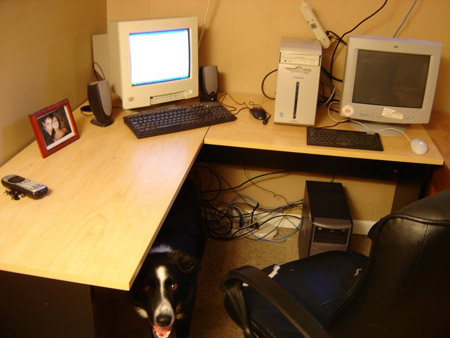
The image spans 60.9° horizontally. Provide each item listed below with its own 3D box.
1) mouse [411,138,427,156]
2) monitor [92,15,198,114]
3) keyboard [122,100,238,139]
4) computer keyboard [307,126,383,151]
[{"bbox_3d":[0.964,-0.112,1.908,0.074,0.046,0.088,15,35,26],"label":"mouse"},{"bbox_3d":[-0.478,-0.667,2.423,0.548,0.578,0.588,-14,34,-27],"label":"monitor"},{"bbox_3d":[-0.237,-0.290,2.138,0.618,0.071,0.258,-17,35,-23],"label":"keyboard"},{"bbox_3d":[0.613,-0.160,1.993,0.372,0.036,0.166,3,32,8],"label":"computer keyboard"}]
